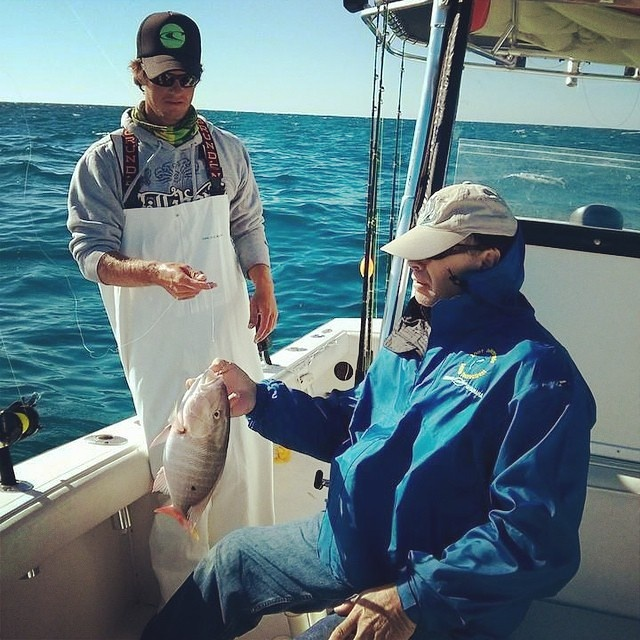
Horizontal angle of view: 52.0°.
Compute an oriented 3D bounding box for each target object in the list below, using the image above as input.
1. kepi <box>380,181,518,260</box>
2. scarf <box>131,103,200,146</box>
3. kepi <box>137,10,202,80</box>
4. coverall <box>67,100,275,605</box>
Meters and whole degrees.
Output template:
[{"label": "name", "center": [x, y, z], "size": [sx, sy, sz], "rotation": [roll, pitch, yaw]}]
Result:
[{"label": "kepi", "center": [0.374, -0.309, 2.020], "size": [0.406, 0.236, 0.329], "rotation": [-6, 20, -31]}, {"label": "scarf", "center": [-0.563, -0.709, 2.390], "size": [0.247, 0.156, 0.110], "rotation": [-1, 19, -11]}, {"label": "kepi", "center": [-0.494, -0.989, 2.315], "size": [0.285, 0.184, 0.338], "rotation": [-3, 41, 3]}, {"label": "coverall", "center": [-0.549, 0.192, 2.721], "size": [0.654, 1.936, 0.908], "rotation": [14, 22, 37]}]
